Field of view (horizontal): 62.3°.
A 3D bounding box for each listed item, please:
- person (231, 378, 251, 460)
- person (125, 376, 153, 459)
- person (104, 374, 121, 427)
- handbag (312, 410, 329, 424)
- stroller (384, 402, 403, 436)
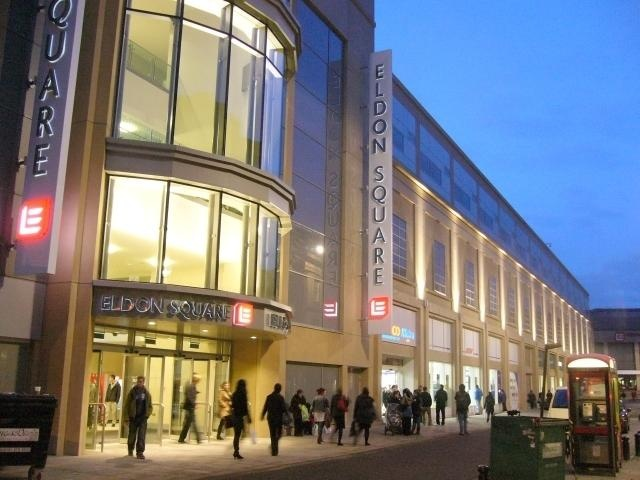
[{"bbox_3d":[-2.391,5.317,15.919,0.553,2.271,1.345,4,-17,-7],"label":"person"},{"bbox_3d":[-5.204,4.979,14.957,0.612,2.179,0.564,-3,-17,15],"label":"person"},{"bbox_3d":[-6.976,5.380,17.832,0.536,1.671,0.971,8,-18,-21],"label":"person"},{"bbox_3d":[0.017,7.211,21.742,0.689,0.609,0.733,3,-11,-12],"label":"handbag"},{"bbox_3d":[3.336,7.997,23.783,0.762,1.381,0.812,5,-10,-8],"label":"stroller"}]
